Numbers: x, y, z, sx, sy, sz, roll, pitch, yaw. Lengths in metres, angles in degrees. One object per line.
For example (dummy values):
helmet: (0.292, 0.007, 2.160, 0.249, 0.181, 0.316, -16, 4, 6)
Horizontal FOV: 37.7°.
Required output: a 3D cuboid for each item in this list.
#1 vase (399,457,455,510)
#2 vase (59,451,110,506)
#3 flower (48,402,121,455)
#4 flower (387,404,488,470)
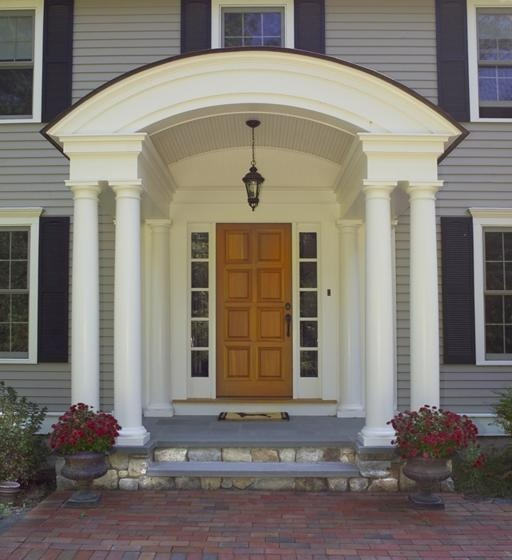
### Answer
vase: (1.470, 1.768, 6.531, 0.545, 0.400, 0.502, 2, -17, 1)
vase: (-1.457, 1.687, 6.536, 0.560, 0.455, 0.461, 1, -1, 0)
flower: (-1.480, 1.274, 6.532, 0.499, 0.372, 0.482, 0, -1, -1)
flower: (1.524, 1.366, 6.439, 0.755, 0.440, 0.548, 1, 14, 9)
